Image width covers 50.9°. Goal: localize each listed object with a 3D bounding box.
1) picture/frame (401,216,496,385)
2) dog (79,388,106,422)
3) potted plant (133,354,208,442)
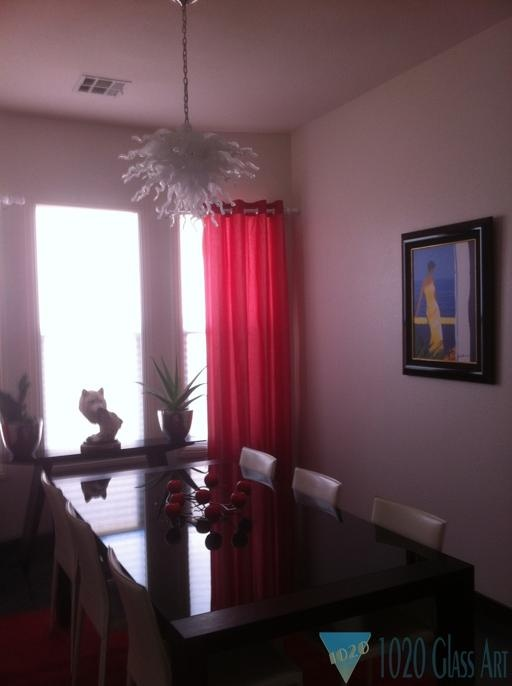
[{"bbox_3d":[0.999,-0.216,2.735,0.060,1.048,0.793,-1,1,-23],"label":"picture/frame"},{"bbox_3d":[-1.125,0.421,3.698,0.145,0.236,0.229,0,-35,-22],"label":"dog"},{"bbox_3d":[-0.650,0.404,4.117,0.479,0.614,0.538,-2,-3,21],"label":"potted plant"}]
